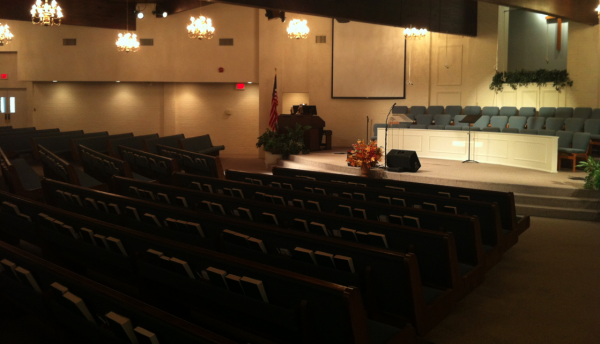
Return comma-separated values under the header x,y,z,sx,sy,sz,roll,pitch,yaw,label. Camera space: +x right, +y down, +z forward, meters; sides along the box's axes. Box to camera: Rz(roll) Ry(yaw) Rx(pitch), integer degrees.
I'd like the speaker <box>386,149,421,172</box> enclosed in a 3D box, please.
x,y,z,sx,sy,sz,roll,pitch,yaw,label
2.764,-0.312,10.051,0.793,0.611,0.566,5,-8,33,speaker

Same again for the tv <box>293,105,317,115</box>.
x,y,z,sx,sy,sz,roll,pitch,yaw,label
0.198,-2.362,14.437,0.911,0.391,0.482,-1,11,-7,tv

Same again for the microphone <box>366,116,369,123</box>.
x,y,z,sx,sy,sz,roll,pitch,yaw,label
2.753,-2.149,15.370,0.123,0.237,0.433,2,11,8,microphone

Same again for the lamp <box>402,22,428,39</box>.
x,y,z,sx,sy,sz,roll,pitch,yaw,label
3.610,-4.450,11.969,0.960,0.395,0.483,-10,15,-44,lamp
